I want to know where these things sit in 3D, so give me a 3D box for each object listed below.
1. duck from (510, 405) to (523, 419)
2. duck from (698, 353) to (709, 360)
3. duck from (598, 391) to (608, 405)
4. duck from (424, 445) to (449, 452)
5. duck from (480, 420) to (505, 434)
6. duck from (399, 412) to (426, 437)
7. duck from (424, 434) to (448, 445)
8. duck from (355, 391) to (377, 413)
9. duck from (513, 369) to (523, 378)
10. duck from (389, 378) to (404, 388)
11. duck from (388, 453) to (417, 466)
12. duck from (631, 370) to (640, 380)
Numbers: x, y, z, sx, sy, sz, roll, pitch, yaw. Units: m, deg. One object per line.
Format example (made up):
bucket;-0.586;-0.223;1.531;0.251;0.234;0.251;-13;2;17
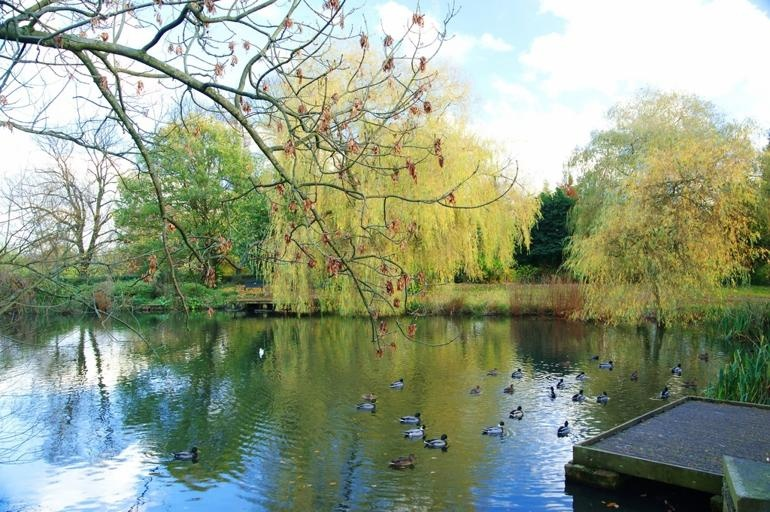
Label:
duck;3.085;3.655;15.105;0.322;0.257;0.175;3;-1;-40
duck;9.563;3.017;19.409;0.191;0.194;0.270;5;8;35
duck;5.376;3.499;16.006;0.138;0.261;0.449;3;3;35
duck;1.069;3.974;13.548;0.505;0.127;0.277;0;7;3
duck;2.398;3.764;14.235;0.408;0.310;0.239;0;-4;3
duck;0.623;3.751;14.501;0.554;0.230;1.080;0;7;-1
duck;1.079;3.902;13.714;0.363;0.264;0.221;1;-4;-1
duck;-0.449;3.579;15.893;0.500;0.181;0.926;-1;7;-2
duck;3.747;3.308;18.301;0.150;0.257;0.442;3;2;30
duck;0.310;3.387;17.366;0.373;0.239;0.618;1;7;9
duck;0.358;4.098;13.061;0.434;0.291;0.206;1;-3;0
duck;6.874;3.299;17.774;0.257;0.279;0.159;15;-8;-22
